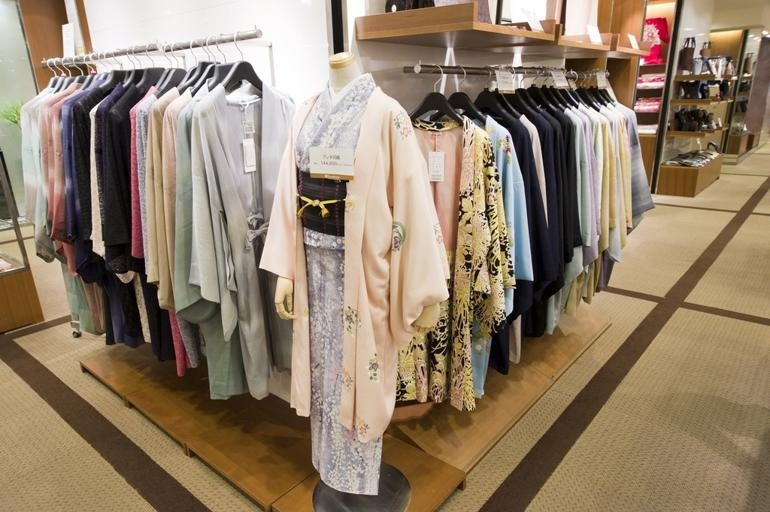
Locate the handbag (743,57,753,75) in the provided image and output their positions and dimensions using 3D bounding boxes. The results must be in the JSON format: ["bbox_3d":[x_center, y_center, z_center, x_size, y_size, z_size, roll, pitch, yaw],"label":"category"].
[{"bbox_3d":[7.196,-3.764,10.141,0.536,0.356,0.103,-22,30,-39],"label":"handbag"}]

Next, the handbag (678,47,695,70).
[{"bbox_3d":[4.275,-2.794,7.280,0.294,0.291,0.109,-11,25,-20],"label":"handbag"}]

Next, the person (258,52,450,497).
[{"bbox_3d":[-0.166,0.121,2.445,0.682,2.001,0.838,-23,31,-39],"label":"person"}]
